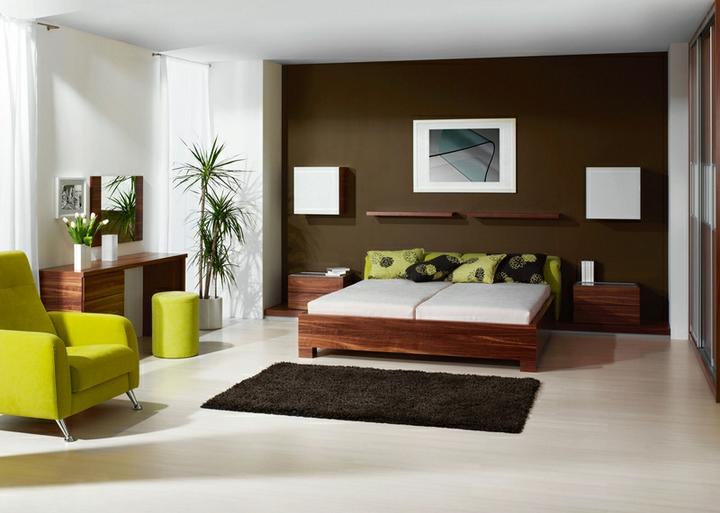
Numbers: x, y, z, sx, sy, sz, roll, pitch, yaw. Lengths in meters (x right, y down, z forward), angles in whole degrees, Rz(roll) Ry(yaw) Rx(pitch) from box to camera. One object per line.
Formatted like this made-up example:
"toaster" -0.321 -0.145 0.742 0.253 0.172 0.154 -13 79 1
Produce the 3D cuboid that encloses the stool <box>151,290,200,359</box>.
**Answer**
"stool" -1.939 0.708 5.800 0.527 0.619 0.528 0 3 -35

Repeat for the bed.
"bed" 0.738 0.699 5.803 2.352 0.643 1.279 2 6 18

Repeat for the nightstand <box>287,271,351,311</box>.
"nightstand" -0.625 0.418 7.205 0.569 0.361 0.586 0 0 11

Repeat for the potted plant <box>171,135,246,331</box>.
"potted plant" -1.888 -0.359 7.153 0.831 2.432 0.899 -5 7 -42

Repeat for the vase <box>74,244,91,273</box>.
"vase" -2.686 0.016 5.291 0.086 0.254 0.261 -1 0 7

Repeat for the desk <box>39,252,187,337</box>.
"desk" -2.455 0.416 5.812 0.457 0.739 1.355 5 10 29

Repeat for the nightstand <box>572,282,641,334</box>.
"nightstand" 2.959 0.619 6.723 0.798 0.553 0.418 2 -6 2

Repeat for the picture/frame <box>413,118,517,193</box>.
"picture/frame" 1.360 -1.303 7.122 1.277 0.931 0.148 1 5 8

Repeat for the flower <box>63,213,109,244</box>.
"flower" -2.757 -0.286 5.442 0.346 0.299 0.347 -11 -11 35
